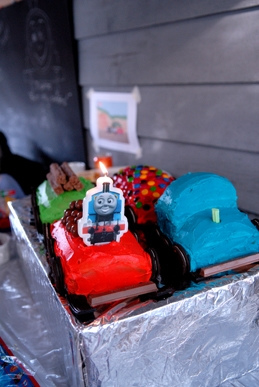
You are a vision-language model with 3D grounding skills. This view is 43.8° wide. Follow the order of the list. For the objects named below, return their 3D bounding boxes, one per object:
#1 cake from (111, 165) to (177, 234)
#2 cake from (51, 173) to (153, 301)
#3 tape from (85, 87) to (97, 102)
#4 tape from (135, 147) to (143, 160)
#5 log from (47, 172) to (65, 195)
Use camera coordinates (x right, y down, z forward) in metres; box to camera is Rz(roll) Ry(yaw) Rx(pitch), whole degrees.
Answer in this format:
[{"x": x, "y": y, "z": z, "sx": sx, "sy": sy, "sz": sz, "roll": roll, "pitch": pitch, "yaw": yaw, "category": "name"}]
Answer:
[{"x": 0.045, "y": -0.004, "z": 0.999, "sx": 0.162, "sy": 0.074, "sz": 0.221, "roll": -8, "pitch": 32, "yaw": -11, "category": "cake"}, {"x": -0.084, "y": 0.087, "z": 0.783, "sx": 0.276, "sy": 0.270, "sz": 0.356, "roll": -2, "pitch": 14, "yaw": -8, "category": "cake"}, {"x": -0.085, "y": -0.215, "z": 0.696, "sx": 0.016, "sy": 0.006, "sz": 0.022, "roll": -32, "pitch": -14, "yaw": 20, "category": "tape"}, {"x": 0.035, "y": -0.149, "z": 1.204, "sx": 0.025, "sy": 0.033, "sz": 0.009, "roll": 9, "pitch": 29, "yaw": 17, "category": "tape"}, {"x": -0.235, "y": -0.028, "z": 1.026, "sx": 0.062, "sy": 0.017, "sz": 0.063, "roll": 45, "pitch": 9, "yaw": 32, "category": "log"}]
